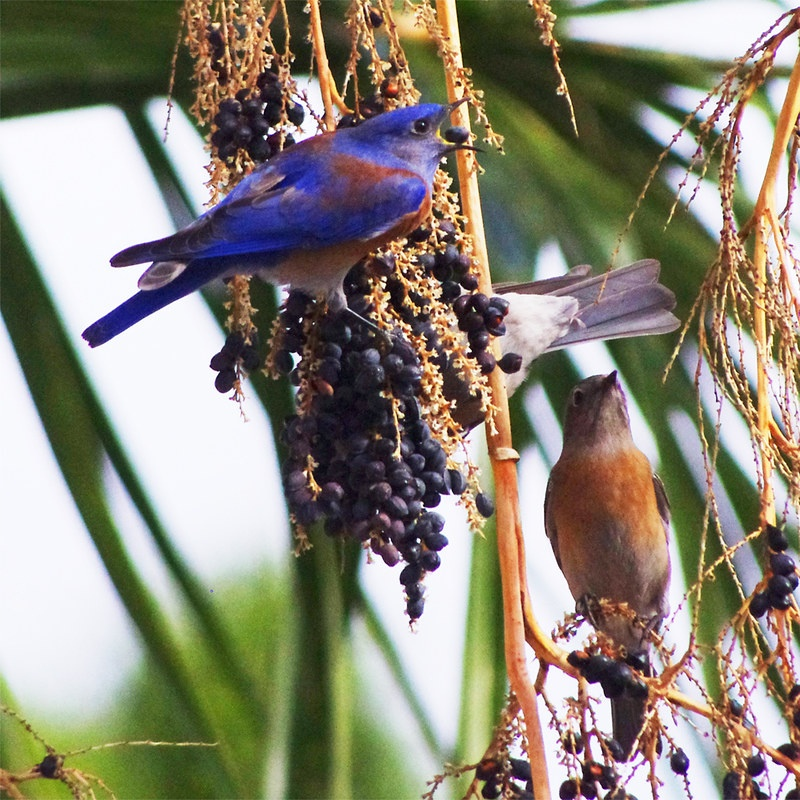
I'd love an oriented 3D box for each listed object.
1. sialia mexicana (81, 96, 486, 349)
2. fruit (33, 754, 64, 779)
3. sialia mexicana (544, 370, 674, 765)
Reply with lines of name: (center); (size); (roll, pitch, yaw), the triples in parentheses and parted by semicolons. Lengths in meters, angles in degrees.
sialia mexicana: (-0.205, -0.304, 2.910); (0.682, 0.389, 0.238); (-5, 20, -18)
fruit: (-0.604, 0.638, 2.947); (0.025, 0.036, 0.069); (11, -37, -10)
sialia mexicana: (0.436, 0.361, 3.491); (0.220, 0.761, 0.446); (-6, 30, 8)
